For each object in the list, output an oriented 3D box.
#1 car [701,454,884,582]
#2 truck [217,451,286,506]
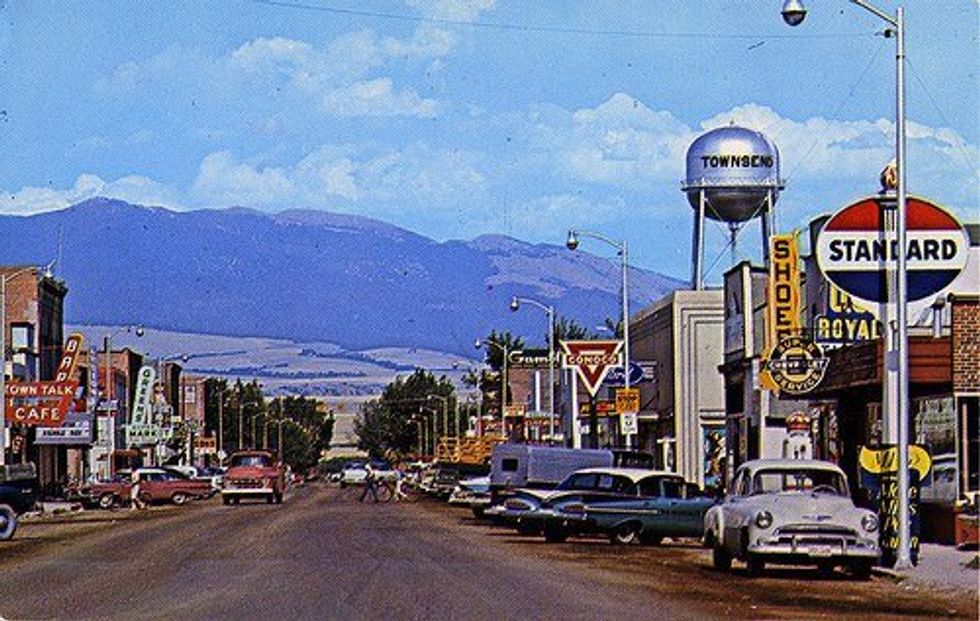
[{"bbox_3d":[7.612,5.170,39.721,4.003,3.071,2.255,-2,-12,12],"label":"car"},{"bbox_3d":[-11.429,7.744,76.276,2.516,2.198,5.122,-1,3,3],"label":"truck"}]
